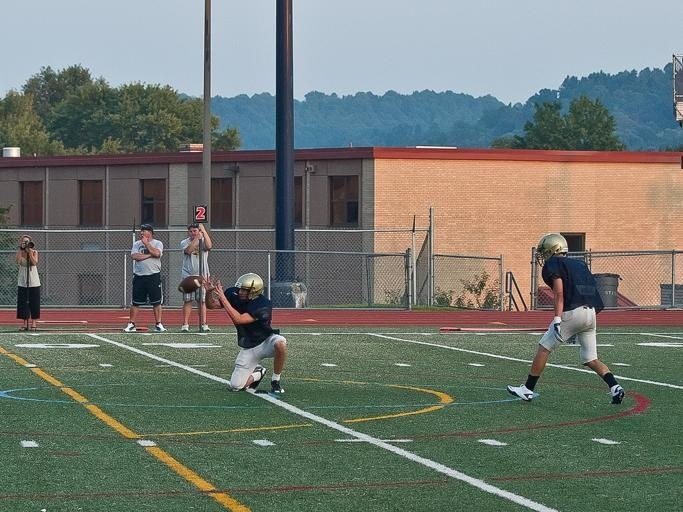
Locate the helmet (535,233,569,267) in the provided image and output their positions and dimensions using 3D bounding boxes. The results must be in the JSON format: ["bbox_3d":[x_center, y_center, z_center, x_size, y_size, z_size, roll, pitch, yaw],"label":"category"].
[{"bbox_3d":[3.057,-0.106,19.862,0.577,0.447,0.468,4,3,29],"label":"helmet"}]

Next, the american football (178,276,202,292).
[{"bbox_3d":[-2.937,0.555,26.651,0.364,0.296,0.532,16,-20,-40],"label":"american football"}]

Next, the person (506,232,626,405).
[{"bbox_3d":[3.294,0.908,19.425,1.512,2.460,0.618,-1,-2,10],"label":"person"}]

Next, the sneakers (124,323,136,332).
[{"bbox_3d":[-4.439,1.479,27.785,0.325,0.177,0.124,4,4,25],"label":"sneakers"}]

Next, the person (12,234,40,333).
[{"bbox_3d":[-6.370,0.565,27.366,0.428,1.920,0.996,0,-2,-14],"label":"person"}]

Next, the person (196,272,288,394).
[{"bbox_3d":[-1.414,1.156,19.883,1.146,1.776,0.916,0,-2,-6],"label":"person"}]

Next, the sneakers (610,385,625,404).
[{"bbox_3d":[3.925,1.974,19.123,0.298,0.261,0.634,-1,-6,10],"label":"sneakers"}]

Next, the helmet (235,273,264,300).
[{"bbox_3d":[-1.336,0.438,19.713,0.449,0.318,0.336,5,0,-9],"label":"helmet"}]

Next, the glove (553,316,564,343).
[{"bbox_3d":[3.116,1.047,19.287,0.121,0.372,0.277,-1,-2,12],"label":"glove"}]
